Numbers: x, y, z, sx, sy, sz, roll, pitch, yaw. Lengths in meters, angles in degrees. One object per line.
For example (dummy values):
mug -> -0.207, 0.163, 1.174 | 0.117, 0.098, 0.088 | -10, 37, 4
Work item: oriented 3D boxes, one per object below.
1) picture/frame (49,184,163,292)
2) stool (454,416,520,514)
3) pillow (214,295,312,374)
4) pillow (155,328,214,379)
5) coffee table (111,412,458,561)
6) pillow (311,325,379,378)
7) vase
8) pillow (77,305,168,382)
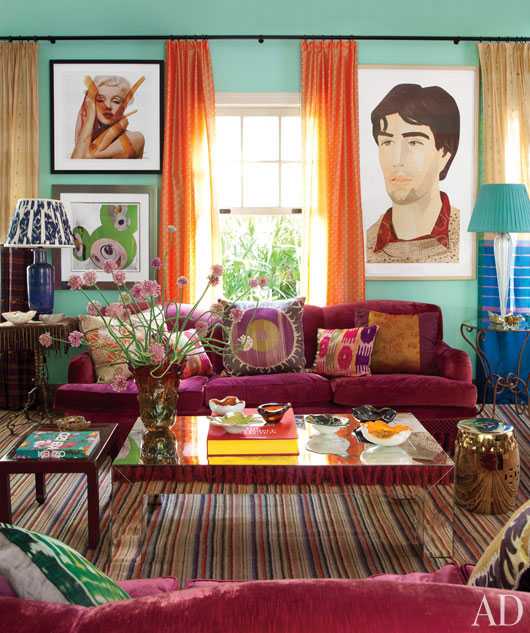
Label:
picture/frame -> -1.143, -0.615, 3.866 | 0.916, 0.912, 0.061 | 1, 7, 1
stool -> 0.978, 0.642, 2.420 | 0.268, 0.376, 0.291 | -5, 9, -3
pillow -> -0.007, 0.124, 3.225 | 0.469, 0.465, 0.160 | -2, -19, -5
pillow -> -0.427, 0.209, 3.246 | 0.153, 0.328, 0.323 | -17, 12, 9
coffee table -> 0.064, 0.637, 2.098 | 1.230, 0.455, 0.579 | 0, 6, 0
pillow -> 0.473, 0.215, 3.344 | 0.402, 0.307, 0.182 | -3, -4, 42
vase -> -0.392, 0.368, 2.039 | 0.231, 0.397, 0.216 | 1, -7, -23
pillow -> -0.824, 0.116, 3.003 | 0.156, 0.507, 0.518 | -22, -6, 39
